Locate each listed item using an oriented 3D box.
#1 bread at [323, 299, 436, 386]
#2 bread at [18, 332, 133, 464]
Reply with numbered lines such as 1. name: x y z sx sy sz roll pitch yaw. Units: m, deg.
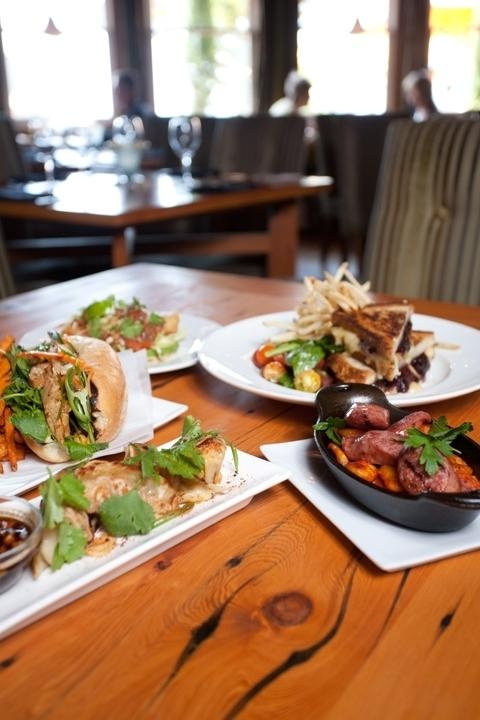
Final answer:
1. bread: 0.217 -0.029 0.906 0.151 0.047 0.138 -4 30 -3
2. bread: -0.190 0.046 0.670 0.112 0.142 0.051 -6 -9 40
